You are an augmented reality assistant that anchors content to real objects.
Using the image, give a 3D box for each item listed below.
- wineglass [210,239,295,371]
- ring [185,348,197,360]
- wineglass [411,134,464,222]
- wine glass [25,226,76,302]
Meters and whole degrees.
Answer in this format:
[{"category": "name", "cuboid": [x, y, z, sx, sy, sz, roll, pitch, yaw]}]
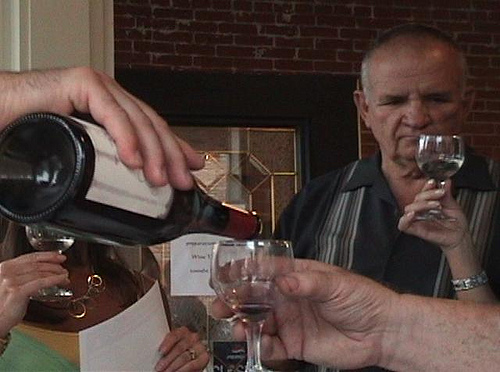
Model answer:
[{"category": "wineglass", "cuboid": [0.002, 0.269, 1.408, 0.195, 0.291, 0.116, 3, 2, 3]}, {"category": "ring", "cuboid": [-0.201, 0.566, 2.061, 0.009, 0.028, 0.038, -27, -39, 21]}, {"category": "wineglass", "cuboid": [0.613, -0.030, 1.986, 0.154, 0.281, 0.264, 3, 3, 17]}, {"category": "wine glass", "cuboid": [-0.613, 0.224, 1.898, 0.128, 0.229, 0.136, -4, -4, 12]}]
